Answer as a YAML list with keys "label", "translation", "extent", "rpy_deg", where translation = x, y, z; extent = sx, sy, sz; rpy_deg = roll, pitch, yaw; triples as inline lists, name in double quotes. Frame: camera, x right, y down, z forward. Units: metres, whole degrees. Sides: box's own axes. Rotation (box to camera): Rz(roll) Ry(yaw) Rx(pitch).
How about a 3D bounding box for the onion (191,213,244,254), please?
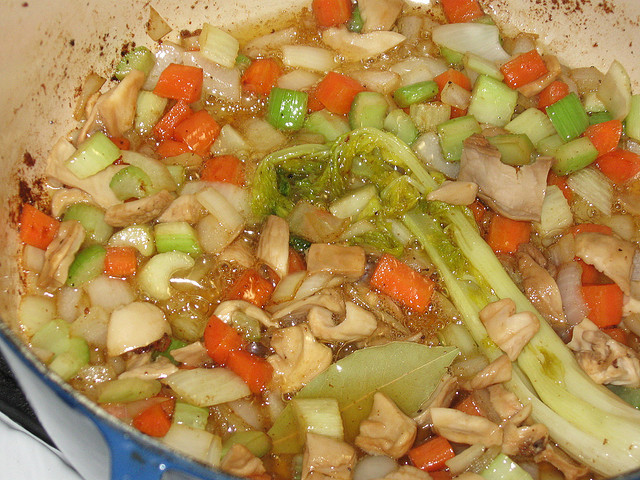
- label: "onion"
  translation: [-0.520, -0.031, 3.343]
  extent: [0.192, 0.057, 0.193]
  rpy_deg: [44, 96, 7]

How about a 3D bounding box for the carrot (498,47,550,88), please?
- label: "carrot"
  translation: [1.056, -0.887, 3.607]
  extent: [0.249, 0.180, 0.208]
  rpy_deg: [-28, 91, 9]

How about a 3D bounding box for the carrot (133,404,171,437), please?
- label: "carrot"
  translation: [-0.721, 0.770, 2.944]
  extent: [0.129, 0.034, 0.143]
  rpy_deg: [18, 42, -5]

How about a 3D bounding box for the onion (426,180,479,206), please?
- label: "onion"
  translation: [0.631, -0.231, 3.259]
  extent: [0.186, 0.068, 0.129]
  rpy_deg: [0, 93, 3]

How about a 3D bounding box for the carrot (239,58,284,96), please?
- label: "carrot"
  translation: [-0.330, -0.871, 3.685]
  extent: [0.170, 0.139, 0.249]
  rpy_deg: [23, 40, 4]

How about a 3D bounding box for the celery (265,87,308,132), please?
- label: "celery"
  translation: [-0.168, -0.665, 3.532]
  extent: [0.186, 0.056, 0.216]
  rpy_deg: [10, 103, 9]

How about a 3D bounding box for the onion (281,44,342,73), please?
- label: "onion"
  translation: [-0.055, -0.969, 3.730]
  extent: [0.249, 0.058, 0.161]
  rpy_deg: [12, 87, -4]

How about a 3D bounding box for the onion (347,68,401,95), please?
- label: "onion"
  translation: [0.284, -0.840, 3.594]
  extent: [0.218, 0.072, 0.141]
  rpy_deg: [18, 65, 4]

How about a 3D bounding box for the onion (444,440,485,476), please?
- label: "onion"
  translation: [0.635, 0.946, 3.065]
  extent: [0.205, 0.077, 0.095]
  rpy_deg: [-36, 56, -21]

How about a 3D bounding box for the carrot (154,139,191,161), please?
- label: "carrot"
  translation: [-0.747, -0.456, 3.492]
  extent: [0.155, 0.063, 0.109]
  rpy_deg: [-3, 93, 6]

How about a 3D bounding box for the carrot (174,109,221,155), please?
- label: "carrot"
  translation: [-0.630, -0.571, 3.542]
  extent: [0.168, 0.221, 0.180]
  rpy_deg: [9, 96, 5]

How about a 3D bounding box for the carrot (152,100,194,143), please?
- label: "carrot"
  translation: [-0.757, -0.603, 3.533]
  extent: [0.067, 0.139, 0.249]
  rpy_deg: [35, 97, 31]

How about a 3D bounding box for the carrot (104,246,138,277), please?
- label: "carrot"
  translation: [-0.956, 0.103, 3.305]
  extent: [0.147, 0.053, 0.144]
  rpy_deg: [-6, 80, 2]

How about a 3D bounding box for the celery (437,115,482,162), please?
- label: "celery"
  translation: [0.670, -0.504, 3.428]
  extent: [0.187, 0.062, 0.221]
  rpy_deg: [-2, 86, -6]

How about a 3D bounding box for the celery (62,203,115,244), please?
- label: "celery"
  translation: [-1.122, -0.097, 3.351]
  extent: [0.243, 0.065, 0.137]
  rpy_deg: [32, 83, 8]

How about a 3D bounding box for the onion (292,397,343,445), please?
- label: "onion"
  translation: [-0.015, 0.779, 3.020]
  extent: [0.209, 0.101, 0.197]
  rpy_deg: [-5, 80, 2]

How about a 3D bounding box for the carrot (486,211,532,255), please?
- label: "carrot"
  translation: [0.906, -0.053, 3.371]
  extent: [0.191, 0.076, 0.217]
  rpy_deg: [7, 94, -6]

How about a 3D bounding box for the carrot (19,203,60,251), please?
- label: "carrot"
  translation: [-1.369, -0.059, 3.311]
  extent: [0.185, 0.073, 0.173]
  rpy_deg: [22, 82, 6]

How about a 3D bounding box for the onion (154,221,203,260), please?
- label: "onion"
  translation: [-0.692, -0.009, 3.319]
  extent: [0.168, 0.184, 0.141]
  rpy_deg: [-3, 117, -11]

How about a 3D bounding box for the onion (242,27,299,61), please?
- label: "onion"
  translation: [-0.268, -1.044, 3.712]
  extent: [0.217, 0.066, 0.080]
  rpy_deg: [-32, 62, -8]

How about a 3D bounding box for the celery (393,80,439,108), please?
- label: "celery"
  translation: [0.497, -0.756, 3.572]
  extent: [0.206, 0.088, 0.120]
  rpy_deg: [-23, 63, -6]

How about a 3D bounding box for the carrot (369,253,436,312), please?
- label: "carrot"
  translation: [0.384, 0.204, 3.290]
  extent: [0.289, 0.067, 0.171]
  rpy_deg: [27, 82, 7]

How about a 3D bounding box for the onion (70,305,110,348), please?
- label: "onion"
  translation: [-1.070, 0.389, 3.206]
  extent: [0.166, 0.071, 0.181]
  rpy_deg: [8, 80, 4]

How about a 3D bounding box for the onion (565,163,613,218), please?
- label: "onion"
  translation: [1.462, -0.248, 3.675]
  extent: [0.114, 0.499, 0.337]
  rpy_deg: [17, 95, 26]

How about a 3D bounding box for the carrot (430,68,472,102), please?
- label: "carrot"
  translation: [0.684, -0.837, 3.613]
  extent: [0.179, 0.091, 0.171]
  rpy_deg: [-46, 43, -13]

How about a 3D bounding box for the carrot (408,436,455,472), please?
- label: "carrot"
  translation: [0.489, 0.939, 3.039]
  extent: [0.157, 0.125, 0.123]
  rpy_deg: [-21, 117, -9]

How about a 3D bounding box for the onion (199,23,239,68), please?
- label: "onion"
  translation: [-0.524, -0.997, 3.578]
  extent: [0.195, 0.055, 0.219]
  rpy_deg: [26, 78, -21]

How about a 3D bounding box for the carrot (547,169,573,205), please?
- label: "carrot"
  translation: [1.206, -0.274, 3.481]
  extent: [0.043, 0.167, 0.168]
  rpy_deg: [-32, 117, 21]

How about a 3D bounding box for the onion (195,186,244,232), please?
- label: "onion"
  translation: [-0.486, -0.154, 3.337]
  extent: [0.143, 0.064, 0.281]
  rpy_deg: [-38, 90, -16]

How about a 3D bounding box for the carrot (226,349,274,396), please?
- label: "carrot"
  translation: [-0.318, 0.601, 3.169]
  extent: [0.188, 0.076, 0.166]
  rpy_deg: [38, 75, 1]

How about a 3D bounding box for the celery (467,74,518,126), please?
- label: "celery"
  translation: [0.892, -0.769, 3.645]
  extent: [0.225, 0.174, 0.265]
  rpy_deg: [15, 102, -7]

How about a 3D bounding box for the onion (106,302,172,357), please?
- label: "onion"
  translation: [-0.838, 0.404, 3.198]
  extent: [0.270, 0.125, 0.246]
  rpy_deg: [-2, 80, 3]

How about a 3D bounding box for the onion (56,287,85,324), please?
- label: "onion"
  translation: [-1.185, 0.306, 3.249]
  extent: [0.107, 0.040, 0.167]
  rpy_deg: [-4, 84, -4]

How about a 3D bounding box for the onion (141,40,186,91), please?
- label: "onion"
  translation: [-0.818, -0.924, 3.611]
  extent: [0.145, 0.069, 0.306]
  rpy_deg: [29, 83, -3]

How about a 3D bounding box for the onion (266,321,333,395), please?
- label: "onion"
  translation: [-0.085, 0.555, 3.169]
  extent: [0.287, 0.114, 0.228]
  rpy_deg: [-49, 57, 5]

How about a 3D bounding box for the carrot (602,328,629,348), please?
- label: "carrot"
  translation: [1.434, 0.455, 3.379]
  extent: [0.085, 0.093, 0.099]
  rpy_deg: [-23, 92, -7]

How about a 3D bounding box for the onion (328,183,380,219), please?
- label: "onion"
  translation: [0.160, -0.189, 3.357]
  extent: [0.243, 0.064, 0.134]
  rpy_deg: [-32, 84, -1]
